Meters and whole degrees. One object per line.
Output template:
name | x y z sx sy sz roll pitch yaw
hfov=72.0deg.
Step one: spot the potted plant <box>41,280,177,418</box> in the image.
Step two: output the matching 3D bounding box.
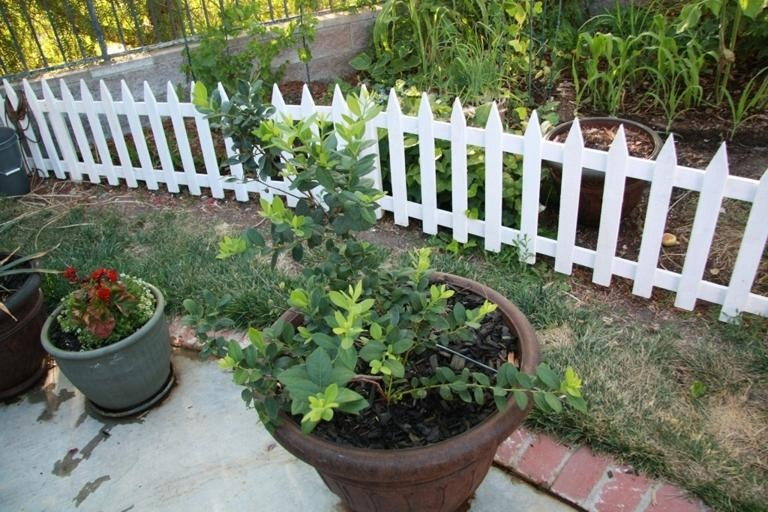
potted plant | -1.845 0.678 3.908 0.803 0.664 0.848 -1 41 -2
